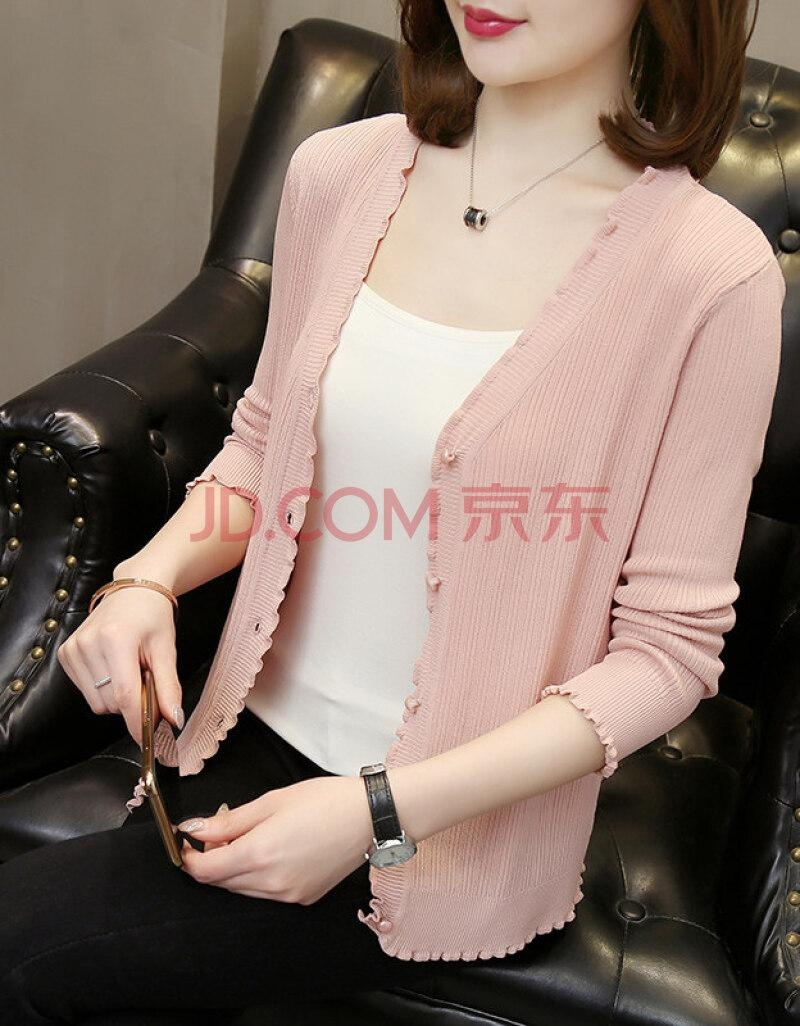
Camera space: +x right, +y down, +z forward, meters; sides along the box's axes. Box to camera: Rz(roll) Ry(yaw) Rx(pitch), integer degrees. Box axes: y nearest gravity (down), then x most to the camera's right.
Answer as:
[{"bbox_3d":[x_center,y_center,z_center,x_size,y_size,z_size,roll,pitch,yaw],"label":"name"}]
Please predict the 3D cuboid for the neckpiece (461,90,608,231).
[{"bbox_3d":[0.122,-0.305,0.856,0.132,0.015,0.108,-47,58,14],"label":"neckpiece"}]
